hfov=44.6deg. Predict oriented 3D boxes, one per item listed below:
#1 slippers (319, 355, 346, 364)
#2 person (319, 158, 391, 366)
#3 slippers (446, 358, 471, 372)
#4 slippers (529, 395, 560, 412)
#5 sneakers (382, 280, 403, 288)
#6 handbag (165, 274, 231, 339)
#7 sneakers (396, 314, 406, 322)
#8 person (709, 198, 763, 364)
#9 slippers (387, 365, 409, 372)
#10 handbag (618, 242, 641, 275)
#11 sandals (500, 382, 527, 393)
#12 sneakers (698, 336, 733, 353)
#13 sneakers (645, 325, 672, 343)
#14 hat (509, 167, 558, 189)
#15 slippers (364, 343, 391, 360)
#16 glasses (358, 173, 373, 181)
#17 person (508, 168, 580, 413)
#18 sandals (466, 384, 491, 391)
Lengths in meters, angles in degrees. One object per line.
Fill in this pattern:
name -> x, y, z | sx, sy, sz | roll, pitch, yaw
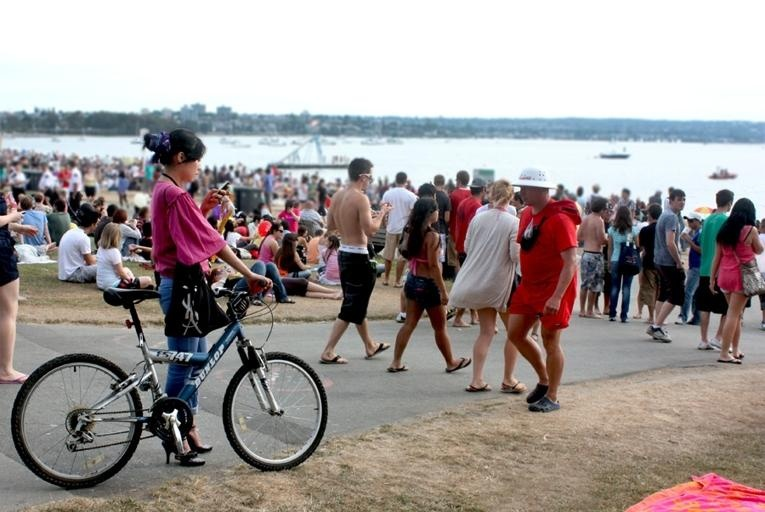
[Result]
slippers -> -0.656, 1.388, 12.440 | 0.309, 0.086, 0.132 | -1, 0, -7
person -> -0.381, 0.064, 12.508 | 0.921, 2.707, 0.879 | 2, 4, 9
slippers -> 1.004, 1.440, 12.258 | 0.318, 0.087, 0.154 | -26, -2, 19
slippers -> 1.901, 1.725, 10.903 | 0.296, 0.128, 0.171 | 1, 2, -6
sneakers -> 0.228, 0.540, 18.115 | 0.146, 0.158, 0.383 | 1, -4, -41
handbag -> -1.947, 0.389, 9.507 | 0.446, 0.829, 0.769 | -1, 12, 10
sneakers -> 0.286, 0.993, 15.021 | 0.089, 0.104, 0.242 | 5, -2, -22
person -> 5.062, 0.349, 13.378 | 0.689, 2.371, 0.489 | 5, 6, 25
slippers -> 0.208, 1.462, 12.224 | 0.233, 0.071, 0.089 | -1, 0, -33
handbag -> 4.278, 0.042, 16.201 | 0.506, 0.671, 0.367 | 1, -8, -2
sandals -> 1.614, 1.627, 11.568 | 0.227, 0.076, 0.138 | 1, 1, 7
sneakers -> 5.085, 1.358, 14.238 | 0.471, 0.206, 0.161 | 2, 3, 4
sneakers -> 4.331, 1.246, 14.637 | 0.470, 0.215, 0.171 | 22, 28, -20
hat -> 1.756, -0.893, 10.827 | 0.318, 0.130, 0.318 | 6, -5, -39
slippers -> -0.081, 1.300, 12.801 | 0.383, 0.112, 0.152 | -32, -2, -2
glasses -> -0.224, -1.057, 12.375 | 0.104, 0.107, 0.033 | 4, -27, 2
person -> 1.852, 0.398, 10.877 | 0.765, 2.824, 0.566 | 4, 6, 18
sandals -> 1.192, 1.615, 11.566 | 0.275, 0.084, 0.109 | 2, -3, -7
